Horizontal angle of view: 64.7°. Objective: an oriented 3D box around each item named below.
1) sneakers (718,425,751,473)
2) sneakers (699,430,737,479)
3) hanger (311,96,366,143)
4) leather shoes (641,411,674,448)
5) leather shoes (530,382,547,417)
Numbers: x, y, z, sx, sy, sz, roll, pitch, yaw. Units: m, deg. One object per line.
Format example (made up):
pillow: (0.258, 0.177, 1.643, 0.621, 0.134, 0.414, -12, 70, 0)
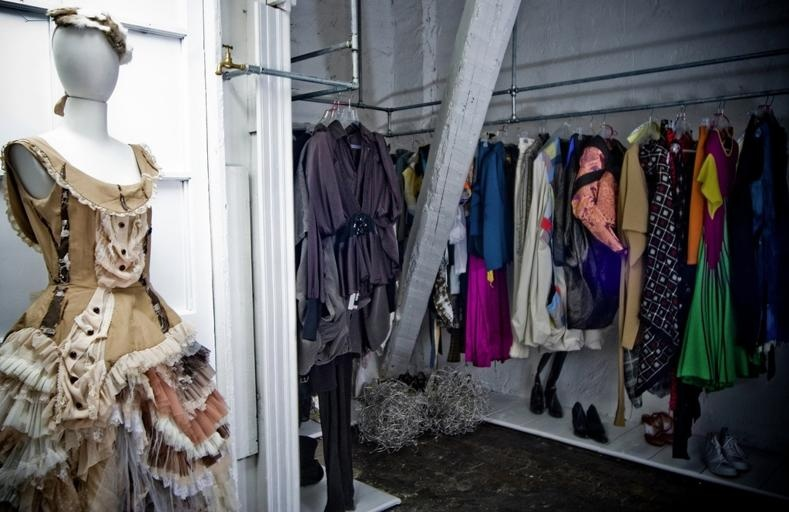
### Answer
sneakers: (2.017, 1.134, 3.750, 0.096, 0.118, 0.293, -17, 32, 1)
sneakers: (1.918, 1.171, 3.698, 0.147, 0.152, 0.260, -1, 12, 5)
hanger: (-0.331, -0.742, 3.347, 0.278, 0.184, 0.293, -6, 12, -19)
leather shoes: (1.707, 1.118, 4.040, 0.099, 0.127, 0.306, -4, 5, 28)
leather shoes: (1.051, 1.047, 4.543, 0.069, 0.100, 0.246, -1, 33, 6)
